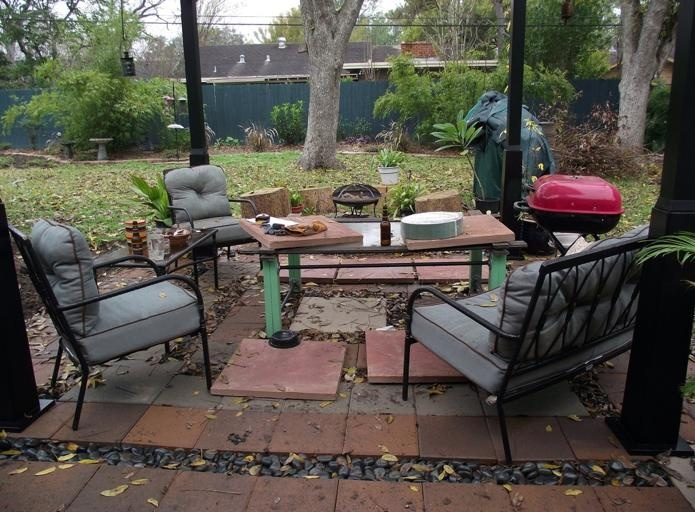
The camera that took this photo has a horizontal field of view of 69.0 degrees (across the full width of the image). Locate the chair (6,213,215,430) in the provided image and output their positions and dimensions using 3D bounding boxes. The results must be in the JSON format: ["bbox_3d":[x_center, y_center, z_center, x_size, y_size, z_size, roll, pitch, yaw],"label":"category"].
[{"bbox_3d":[-1.608,0.147,3.996,1.646,1.528,1.167,-9,20,-34],"label":"chair"}]

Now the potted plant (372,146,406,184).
[{"bbox_3d":[0.792,-1.567,8.942,0.566,0.478,0.594,13,16,33],"label":"potted plant"}]

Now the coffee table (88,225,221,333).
[{"bbox_3d":[-1.548,0.185,4.196,1.013,0.497,0.937,6,14,21],"label":"coffee table"}]

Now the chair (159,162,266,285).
[{"bbox_3d":[-1.557,-0.486,5.724,1.128,0.829,0.907,23,32,38],"label":"chair"}]

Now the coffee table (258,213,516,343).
[{"bbox_3d":[0.017,0.078,4.313,1.374,0.499,0.761,-11,9,17],"label":"coffee table"}]
